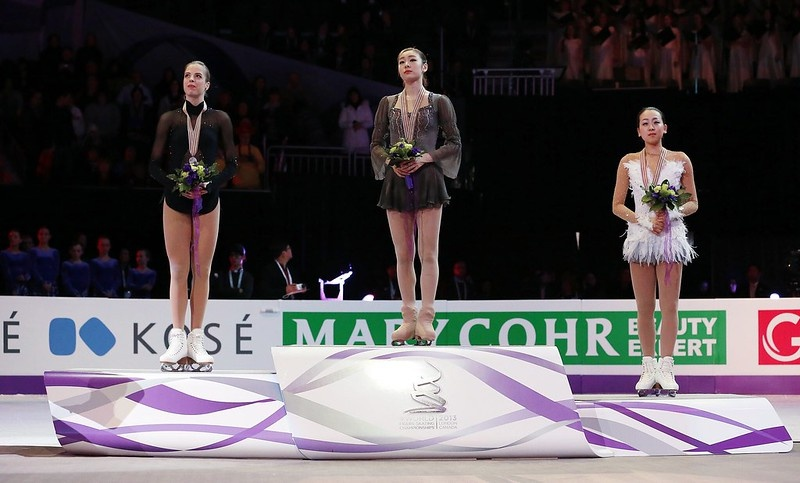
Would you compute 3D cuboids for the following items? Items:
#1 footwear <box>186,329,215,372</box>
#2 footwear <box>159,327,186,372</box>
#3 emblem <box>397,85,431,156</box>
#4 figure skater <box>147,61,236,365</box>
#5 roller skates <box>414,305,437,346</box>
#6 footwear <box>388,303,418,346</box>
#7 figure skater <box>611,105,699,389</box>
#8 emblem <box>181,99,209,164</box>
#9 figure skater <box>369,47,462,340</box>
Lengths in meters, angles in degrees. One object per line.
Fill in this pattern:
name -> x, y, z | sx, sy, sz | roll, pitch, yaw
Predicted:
footwear -> -2.596, 1.404, 11.651 | 0.298, 0.544, 0.242 | -1, -2, -16
footwear -> -2.923, 1.388, 11.629 | 0.227, 0.407, 0.673 | 3, 2, 5
emblem -> 0.171, -1.627, 11.812 | 0.469, 0.818, 0.198 | 6, 5, 18
figure skater -> -2.710, -0.341, 11.743 | 1.053, 4.042, 0.392 | -1, -2, -15
roller skates -> 0.323, 1.084, 11.657 | 0.244, 0.516, 0.195 | -1, -2, -1
footwear -> 0.075, 1.046, 11.673 | 0.193, 0.496, 0.591 | -5, 1, 29
figure skater -> 3.307, 0.113, 11.669 | 0.983, 3.720, 0.399 | -2, -2, 16
emblem -> -2.694, -1.500, 11.796 | 0.329, 0.798, 0.233 | 0, -8, -13
figure skater -> 0.215, -0.603, 11.772 | 1.158, 3.903, 0.413 | -1, -2, -2
